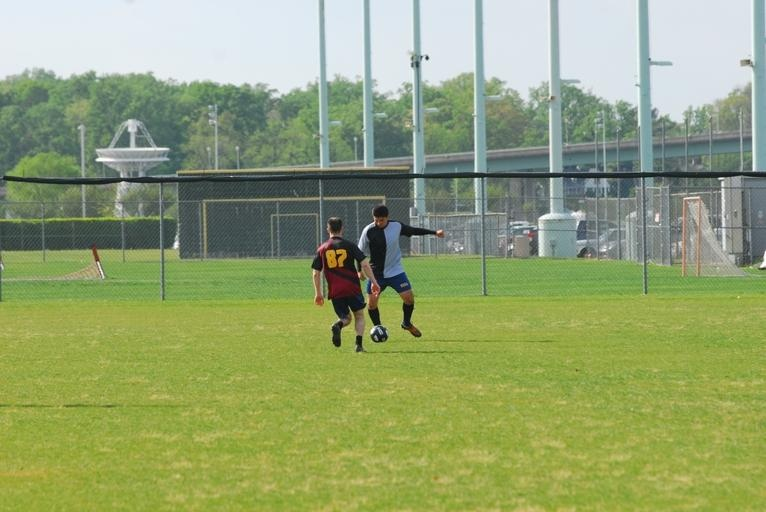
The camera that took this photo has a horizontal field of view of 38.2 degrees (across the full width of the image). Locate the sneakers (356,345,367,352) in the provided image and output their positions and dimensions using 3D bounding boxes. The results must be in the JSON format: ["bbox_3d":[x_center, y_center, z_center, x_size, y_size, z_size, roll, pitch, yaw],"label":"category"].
[{"bbox_3d":[-0.369,1.426,17.483,0.113,0.120,0.121,-9,32,8],"label":"sneakers"}]

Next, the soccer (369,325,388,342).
[{"bbox_3d":[-0.088,1.240,17.911,0.288,0.265,0.274,-1,-4,3],"label":"soccer"}]

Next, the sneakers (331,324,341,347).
[{"bbox_3d":[-0.751,1.234,17.438,0.118,0.377,0.232,0,14,2],"label":"sneakers"}]

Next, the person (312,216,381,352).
[{"bbox_3d":[-0.628,0.438,17.567,1.044,2.030,0.880,1,14,5],"label":"person"}]
